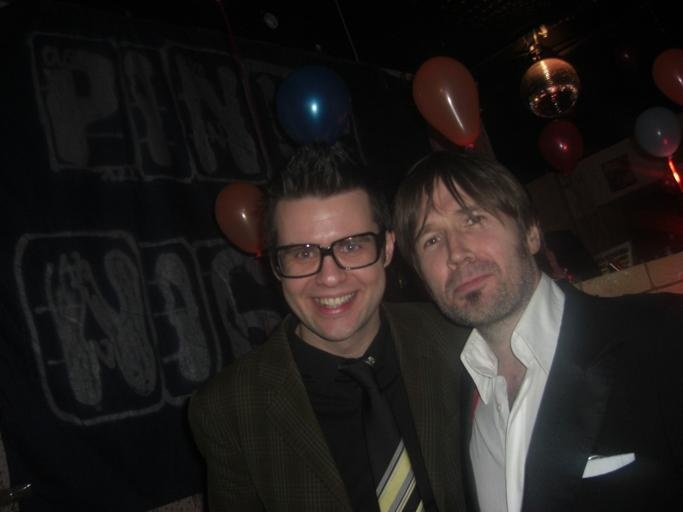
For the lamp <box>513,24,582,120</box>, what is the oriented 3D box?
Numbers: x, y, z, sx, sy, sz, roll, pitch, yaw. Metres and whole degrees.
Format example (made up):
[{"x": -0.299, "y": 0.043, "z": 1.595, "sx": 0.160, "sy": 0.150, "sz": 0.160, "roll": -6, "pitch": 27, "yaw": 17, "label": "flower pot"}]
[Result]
[{"x": 2.086, "y": -1.918, "z": 5.516, "sx": 0.512, "sy": 0.981, "sz": 1.039, "roll": -9, "pitch": -2, "yaw": 25, "label": "lamp"}]

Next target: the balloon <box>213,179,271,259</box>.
[{"x": -0.812, "y": -0.330, "z": 4.391, "sx": 0.439, "sy": 0.626, "sz": 0.616, "roll": -17, "pitch": 6, "yaw": -26, "label": "balloon"}]

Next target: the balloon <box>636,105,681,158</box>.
[{"x": 3.034, "y": -1.189, "z": 5.209, "sx": 0.349, "sy": 0.510, "sz": 0.237, "roll": -9, "pitch": -1, "yaw": -1, "label": "balloon"}]

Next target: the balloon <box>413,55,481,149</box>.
[{"x": 0.879, "y": -1.275, "z": 4.533, "sx": 0.472, "sy": 0.745, "sz": 0.344, "roll": -8, "pitch": -1, "yaw": -24, "label": "balloon"}]
